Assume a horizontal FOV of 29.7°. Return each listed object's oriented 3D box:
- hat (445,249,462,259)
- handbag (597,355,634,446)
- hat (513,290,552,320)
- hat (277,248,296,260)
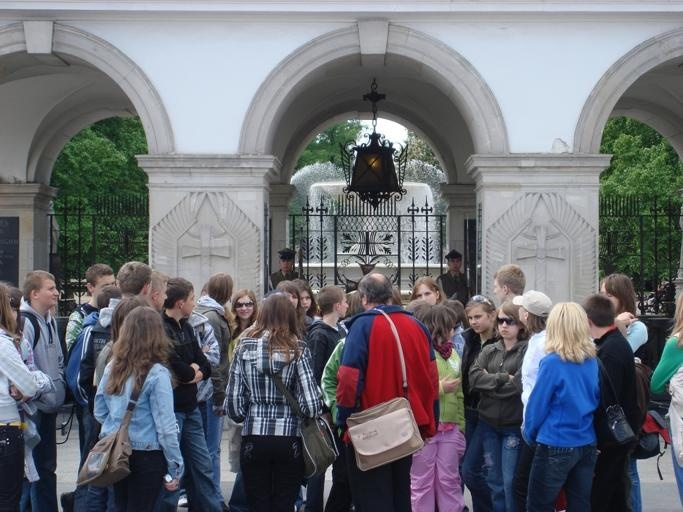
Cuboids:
[{"bbox_3d":[1.808,-0.016,20.506,0.162,0.094,0.165,-1,-3,29],"label":"hat"},{"bbox_3d":[3.057,1.639,14.411,0.395,0.943,0.178,-2,-3,0],"label":"handbag"},{"bbox_3d":[2.194,0.538,14.791,0.376,0.207,0.282,18,19,26],"label":"hat"},{"bbox_3d":[-0.821,-0.019,20.134,0.183,0.174,0.306,-2,-4,11],"label":"hat"}]
